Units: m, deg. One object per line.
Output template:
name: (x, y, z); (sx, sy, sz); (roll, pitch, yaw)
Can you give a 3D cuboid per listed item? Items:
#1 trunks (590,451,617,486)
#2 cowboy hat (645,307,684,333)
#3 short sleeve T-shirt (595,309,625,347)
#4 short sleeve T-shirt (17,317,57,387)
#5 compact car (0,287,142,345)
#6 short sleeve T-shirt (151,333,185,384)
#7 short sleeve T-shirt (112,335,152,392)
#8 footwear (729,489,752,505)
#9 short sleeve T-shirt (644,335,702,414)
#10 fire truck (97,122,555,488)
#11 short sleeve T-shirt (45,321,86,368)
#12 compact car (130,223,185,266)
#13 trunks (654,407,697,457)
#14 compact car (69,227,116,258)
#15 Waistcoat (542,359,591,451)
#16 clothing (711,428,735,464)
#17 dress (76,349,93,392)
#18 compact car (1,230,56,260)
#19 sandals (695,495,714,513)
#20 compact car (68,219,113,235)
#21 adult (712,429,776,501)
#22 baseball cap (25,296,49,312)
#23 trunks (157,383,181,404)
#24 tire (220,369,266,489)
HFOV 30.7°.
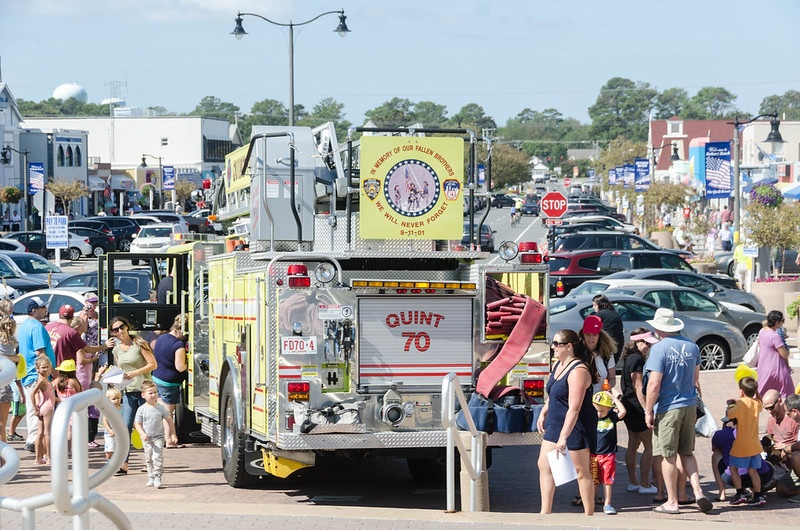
trunks: (3.287, 3.306, 23.779); (0.387, 0.679, 0.524); (10, -15, -22)
cowboy hat: (4.362, 0.897, 24.245); (0.426, 0.199, 0.479); (1, 18, -16)
short sleeve T-shirt: (3.697, 1.120, 25.897); (0.647, 0.888, 0.492); (2, 9, 11)
short sleeve T-shirt: (-6.758, 1.543, 26.749); (0.518, 1.254, 1.013); (-8, 10, -31)
compact car: (-8.089, 1.357, 34.508); (3.236, 1.143, 1.573); (3, 3, 19)
short sleeve T-shirt: (-4.297, 1.717, 27.130); (0.498, 0.901, 0.905); (2, 3, -42)
short sleeve T-shirt: (-4.807, 1.780, 26.023); (0.843, 0.910, 0.498); (-5, -15, -3)
footwear: (5.600, 3.813, 23.985); (0.348, 0.241, 0.211); (3, 13, 16)
short sleeve T-shirt: (4.459, 1.812, 24.046); (1.179, 1.174, 0.654); (-6, 6, -24)
fire truck: (-0.908, 0.826, 24.366); (6.479, 6.242, 3.379); (4, 14, 20)
short sleeve T-shirt: (-6.128, 1.461, 26.501); (0.805, 0.646, 0.318); (2, 10, 16)
compact car: (-6.986, -0.639, 41.735); (1.568, 1.185, 2.982); (-2, -2, -1)
trunks: (4.456, 2.691, 23.769); (0.840, 0.862, 0.509); (-1, 1, -45)
compact car: (-11.673, -0.905, 54.549); (2.883, 1.011, 1.322); (3, -1, -11)
Waistcoat: (2.666, 2.239, 22.991); (0.808, 1.466, 0.549); (1, 13, 7)
clothing: (5.375, 3.014, 24.220); (0.505, 0.596, 0.385); (-5, 18, 0)
dress: (-5.743, 1.883, 26.324); (0.271, 0.870, 0.316); (-3, 35, -3)
compact car: (-13.760, -0.797, 54.138); (1.971, 0.650, 0.885); (5, -1, -3)
sandals: (4.933, 3.883, 23.636); (0.147, 0.141, 0.340); (-27, -45, 14)
compact car: (-12.290, -1.599, 57.645); (1.393, 0.462, 0.668); (5, 1, -6)
adult: (5.684, 3.167, 24.368); (0.939, 1.450, 0.781); (-3, -8, -2)
baseball cap: (-7.304, 0.773, 29.307); (0.500, 0.284, 0.348); (-11, 14, -38)
trunks: (-4.268, 2.379, 26.870); (0.517, 0.447, 0.351); (1, 11, -1)
tire: (-2.894, 2.818, 24.816); (0.441, 1.568, 1.643); (-3, -42, -14)
